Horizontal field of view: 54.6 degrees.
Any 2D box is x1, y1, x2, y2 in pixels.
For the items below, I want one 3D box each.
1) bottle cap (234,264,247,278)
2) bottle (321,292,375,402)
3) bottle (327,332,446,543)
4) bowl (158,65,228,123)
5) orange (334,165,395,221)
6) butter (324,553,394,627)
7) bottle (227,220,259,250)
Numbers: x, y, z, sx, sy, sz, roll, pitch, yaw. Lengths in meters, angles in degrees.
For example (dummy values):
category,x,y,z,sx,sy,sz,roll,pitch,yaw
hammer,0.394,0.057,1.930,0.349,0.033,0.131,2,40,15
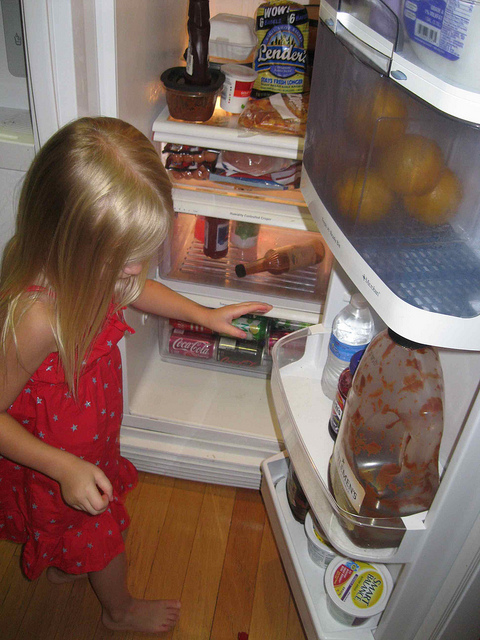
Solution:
category,x,y,z,sx,sy,sz,roll,pitch,yaw
bottle cap,0.004,-0.149,1.405,0.033,0.035,0.033,8,23,10
bottle,0.170,0.054,0.790,0.055,0.165,0.055,14,25,-7
bottle,0.189,0.140,0.601,0.114,0.239,0.166,-5,39,-11
bowl,-0.118,-0.533,1.149,0.131,0.088,0.134,-1,23,0
orange,0.120,-0.109,0.446,0.049,0.063,0.050,-2,-2,-35
butter,0.213,0.483,0.847,0.116,0.050,0.119,21,42,21
bottle,0.021,-0.277,1.511,0.085,0.090,0.087,0,42,-26
